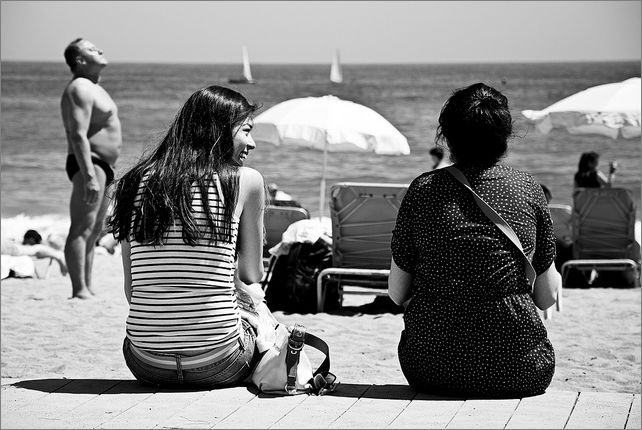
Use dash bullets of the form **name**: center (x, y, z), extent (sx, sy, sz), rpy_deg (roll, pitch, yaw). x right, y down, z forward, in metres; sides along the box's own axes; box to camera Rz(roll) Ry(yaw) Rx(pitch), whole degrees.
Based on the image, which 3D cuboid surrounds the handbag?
- **handbag**: center (-0.271, 1.345, 10.714), extent (0.762, 0.592, 0.619), rpy_deg (6, -8, -7)

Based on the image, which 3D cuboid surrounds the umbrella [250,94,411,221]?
- **umbrella**: center (0.156, -0.921, 15.550), extent (1.983, 1.470, 1.866), rpy_deg (3, -5, 1)
